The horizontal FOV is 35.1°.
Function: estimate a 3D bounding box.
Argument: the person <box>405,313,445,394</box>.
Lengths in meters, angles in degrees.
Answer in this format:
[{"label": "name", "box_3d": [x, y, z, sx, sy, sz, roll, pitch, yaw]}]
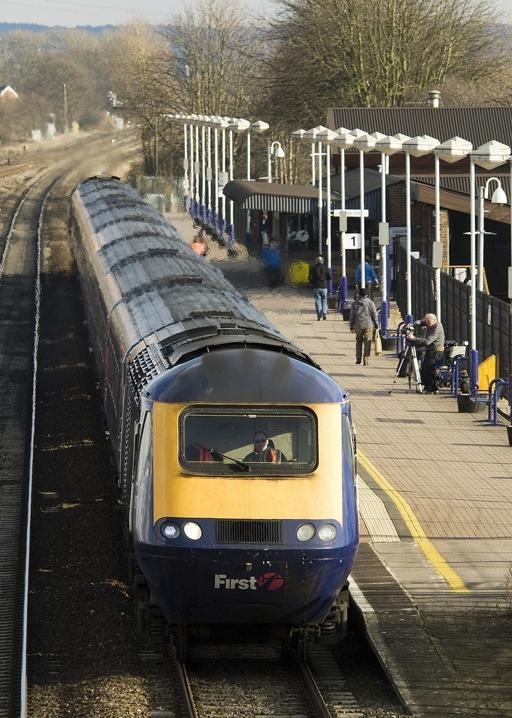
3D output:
[{"label": "person", "box_3d": [3.633, -0.102, 17.261, 0.721, 1.735, 1.540, -4, 5, 11]}]

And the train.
[{"label": "train", "box_3d": [-1.416, -0.723, 12.755, 1.804, 2.464, 14.956, -1, 15, -8]}]
